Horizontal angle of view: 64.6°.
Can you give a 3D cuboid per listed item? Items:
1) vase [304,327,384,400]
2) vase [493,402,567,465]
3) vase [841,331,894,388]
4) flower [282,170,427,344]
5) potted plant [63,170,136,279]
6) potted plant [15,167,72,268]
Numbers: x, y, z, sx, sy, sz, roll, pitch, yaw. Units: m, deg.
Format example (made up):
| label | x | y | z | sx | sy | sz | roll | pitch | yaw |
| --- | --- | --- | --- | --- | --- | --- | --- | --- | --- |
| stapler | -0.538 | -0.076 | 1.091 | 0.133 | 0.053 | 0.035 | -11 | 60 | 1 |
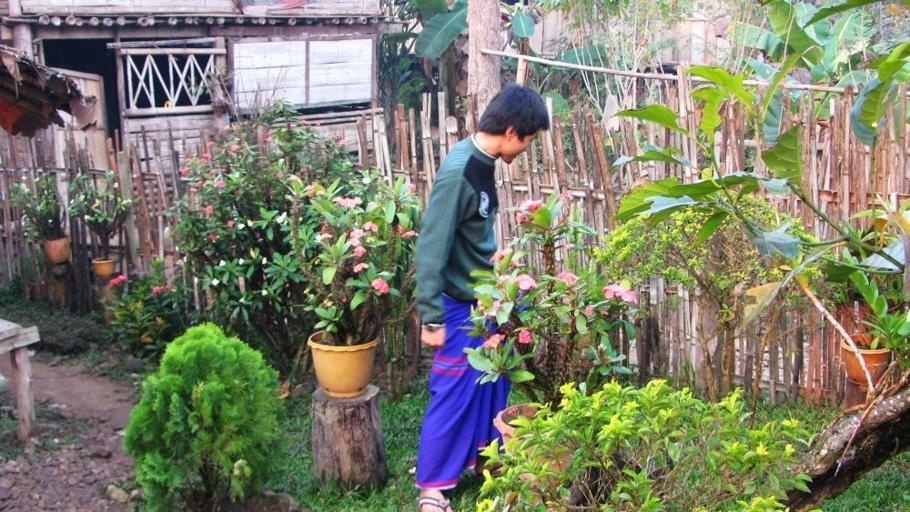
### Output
| label | x | y | z | sx | sy | sz | roll | pitch | yaw |
| --- | --- | --- | --- | --- | --- | --- | --- | --- | --- |
| vase | -0.996 | 1.069 | 6.855 | 0.660 | 0.497 | 0.654 | -5 | -2 | 44 |
| vase | 0.667 | 1.413 | 5.923 | 0.588 | 0.411 | 0.581 | -6 | 16 | -17 |
| vase | 3.813 | 0.980 | 6.673 | 0.409 | 0.490 | 0.458 | 3 | 5 | 29 |
| flower | -1.057 | 0.295 | 7.140 | 1.130 | 1.337 | 1.069 | 18 | 27 | 17 |
| potted plant | -4.819 | -0.542 | 9.786 | 1.110 | 1.209 | 0.452 | 4 | 5 | 39 |
| potted plant | -5.822 | -0.516 | 10.141 | 0.699 | 1.310 | 0.426 | -1 | 4 | -19 |
